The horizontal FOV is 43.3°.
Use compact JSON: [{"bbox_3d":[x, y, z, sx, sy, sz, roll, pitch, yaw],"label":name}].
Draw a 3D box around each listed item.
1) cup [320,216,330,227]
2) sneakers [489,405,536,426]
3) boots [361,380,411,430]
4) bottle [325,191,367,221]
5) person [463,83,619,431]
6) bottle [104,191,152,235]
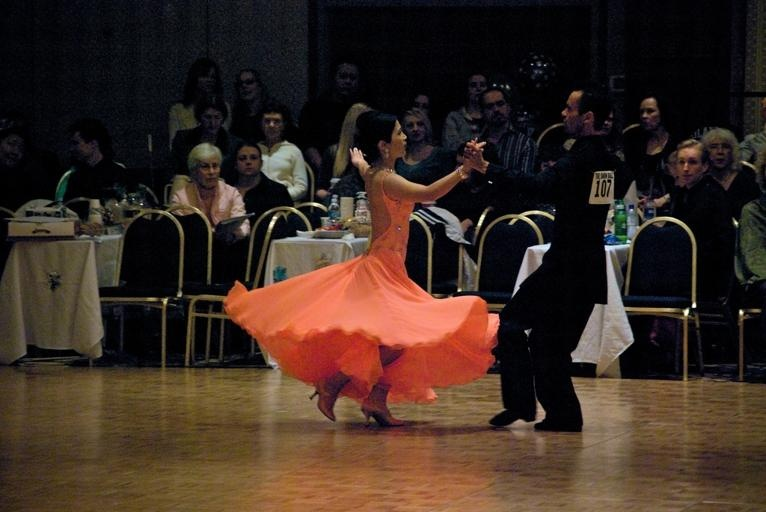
[{"bbox_3d":[-0.446,-0.255,7.491,0.080,0.063,0.063,0,4,13],"label":"cup"},{"bbox_3d":[0.731,0.915,5.469,0.207,0.056,0.127,-5,-8,1],"label":"sneakers"},{"bbox_3d":[-0.008,0.874,5.566,0.298,0.217,0.114,14,-16,-30],"label":"boots"},{"bbox_3d":[-0.287,-0.382,7.611,0.369,0.334,0.196,2,2,20],"label":"bottle"},{"bbox_3d":[0.937,0.044,5.388,0.737,1.893,0.271,-1,8,-4],"label":"person"},{"bbox_3d":[-2.177,-0.353,8.120,0.449,0.396,0.373,-1,2,-6],"label":"bottle"}]
